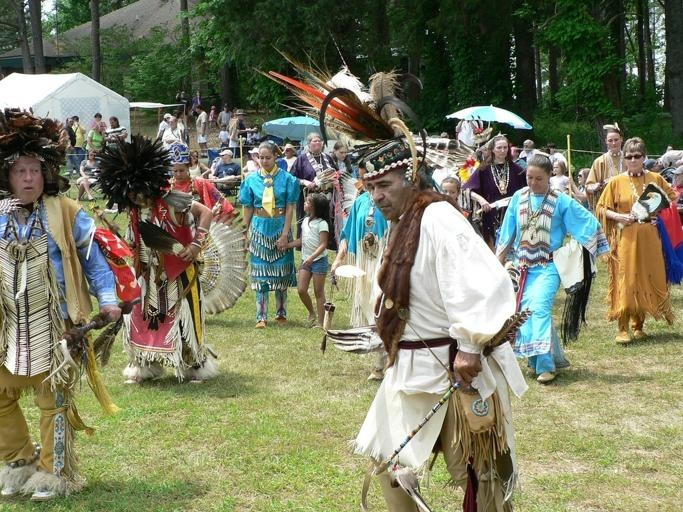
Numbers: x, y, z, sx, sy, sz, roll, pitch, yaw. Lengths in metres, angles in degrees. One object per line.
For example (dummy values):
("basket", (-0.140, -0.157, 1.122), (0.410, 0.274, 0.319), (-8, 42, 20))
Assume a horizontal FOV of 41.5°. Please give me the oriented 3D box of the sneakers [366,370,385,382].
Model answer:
("sneakers", (0.296, 1.033, 7.842), (0.191, 0.131, 0.063), (0, -4, 26))
